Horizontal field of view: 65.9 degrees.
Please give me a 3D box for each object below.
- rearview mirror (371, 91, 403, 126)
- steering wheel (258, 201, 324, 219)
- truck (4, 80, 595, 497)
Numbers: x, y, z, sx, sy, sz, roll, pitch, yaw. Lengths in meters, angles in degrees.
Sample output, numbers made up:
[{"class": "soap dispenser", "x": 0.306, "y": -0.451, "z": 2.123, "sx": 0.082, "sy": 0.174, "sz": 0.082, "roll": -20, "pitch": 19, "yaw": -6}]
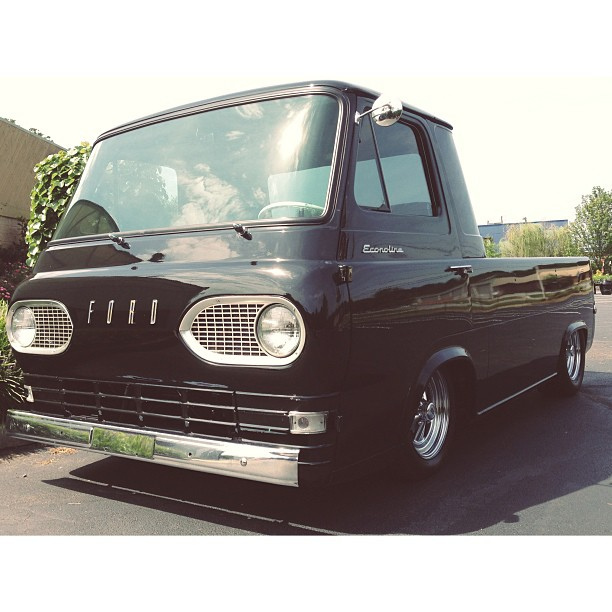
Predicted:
[{"class": "rearview mirror", "x": 0.404, "y": -0.991, "z": 2.357, "sx": 0.116, "sy": 0.177, "sz": 0.151, "roll": -2, "pitch": 1, "yaw": -33}, {"class": "steering wheel", "x": -0.087, "y": -0.483, "z": 2.376, "sx": 0.403, "sy": 0.097, "sz": 0.045, "roll": -1, "pitch": 1, "yaw": 37}, {"class": "truck", "x": 0.446, "y": -0.072, "z": 3.672, "sx": 2.070, "sy": 1.447, "sz": 3.786, "roll": -5, "pitch": -6, "yaw": 38}]
